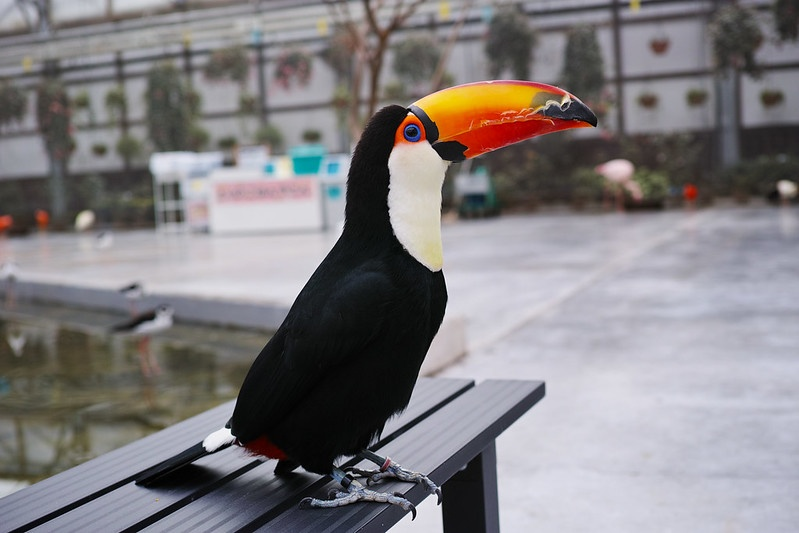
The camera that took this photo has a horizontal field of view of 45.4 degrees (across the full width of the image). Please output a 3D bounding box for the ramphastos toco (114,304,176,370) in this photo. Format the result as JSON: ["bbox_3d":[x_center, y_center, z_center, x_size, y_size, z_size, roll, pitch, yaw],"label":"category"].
[{"bbox_3d":[-0.913,0.243,3.357,0.228,0.245,0.168,3,1,0],"label":"ramphastos toco"}]
